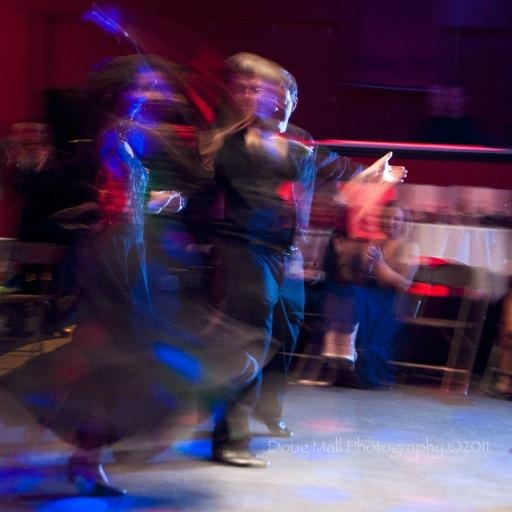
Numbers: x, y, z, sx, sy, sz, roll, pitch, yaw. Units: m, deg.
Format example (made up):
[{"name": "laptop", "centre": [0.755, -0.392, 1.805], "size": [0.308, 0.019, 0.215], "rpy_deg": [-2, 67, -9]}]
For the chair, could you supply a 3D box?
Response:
[{"name": "chair", "centre": [0.653, 0.360, 3.605], "size": [1.532, 0.648, 0.940], "rpy_deg": [3, 1, -3]}]

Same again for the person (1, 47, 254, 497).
[{"name": "person", "centre": [-0.325, -0.010, 1.821], "size": [0.690, 1.231, 0.920], "rpy_deg": [7, 19, 4]}]
